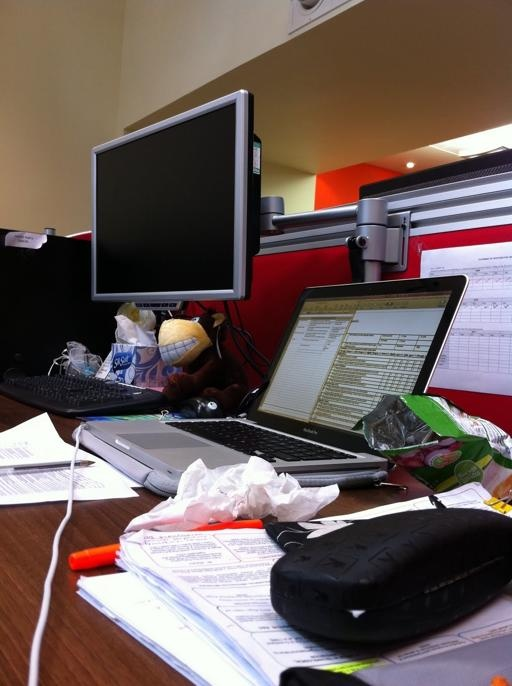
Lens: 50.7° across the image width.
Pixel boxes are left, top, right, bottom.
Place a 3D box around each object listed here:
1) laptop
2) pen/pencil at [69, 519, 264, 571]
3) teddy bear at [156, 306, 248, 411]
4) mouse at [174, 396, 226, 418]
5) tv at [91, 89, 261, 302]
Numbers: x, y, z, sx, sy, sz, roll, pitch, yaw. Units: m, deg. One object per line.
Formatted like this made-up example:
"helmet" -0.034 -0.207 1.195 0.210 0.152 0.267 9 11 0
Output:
"laptop" 0.025 0.045 0.645 0.301 0.186 0.319 8 -1 -28
"pen/pencil" -0.056 0.129 0.343 0.121 0.017 0.016 -2 -1 -26
"teddy bear" -0.101 0.036 1.013 0.172 0.207 0.152 5 -5 -6
"mouse" -0.097 0.112 0.874 0.047 0.038 0.051 -7 -5 -36
"tv" -0.190 -0.261 1.155 0.079 0.382 0.585 -3 5 -42
